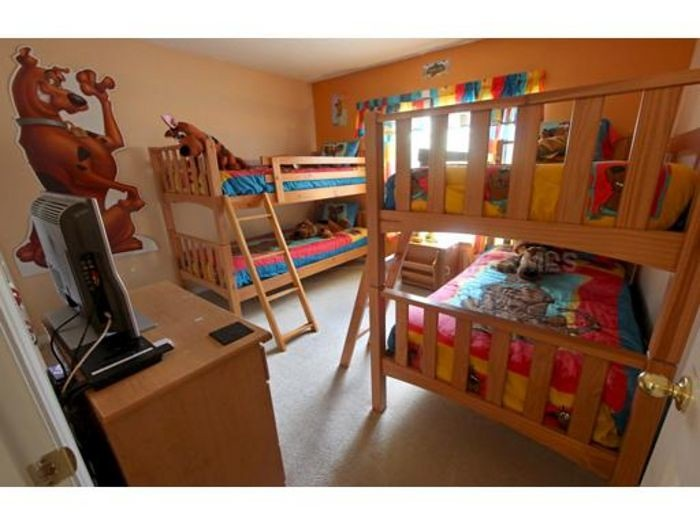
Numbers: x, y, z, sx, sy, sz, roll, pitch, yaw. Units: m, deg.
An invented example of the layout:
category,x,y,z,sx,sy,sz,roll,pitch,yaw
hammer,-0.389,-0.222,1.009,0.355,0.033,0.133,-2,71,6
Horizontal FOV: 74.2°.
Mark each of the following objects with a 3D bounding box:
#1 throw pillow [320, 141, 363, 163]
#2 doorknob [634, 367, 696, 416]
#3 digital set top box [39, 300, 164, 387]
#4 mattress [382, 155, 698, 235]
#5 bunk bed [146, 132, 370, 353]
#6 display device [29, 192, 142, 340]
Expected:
category,x,y,z,sx,sy,sz,roll,pitch,yaw
throw pillow,-0.103,-1.358,5.511,0.458,0.270,0.464,15,25,38
doorknob,0.993,0.418,1.509,0.190,0.102,0.101,10,5,0
digital set top box,-0.953,0.327,1.825,0.479,0.109,0.313,25,27,38
mattress,1.177,-0.294,2.360,1.681,0.351,0.853,8,11,38
bunk bed,-0.687,-0.348,3.914,2.743,1.585,1.013,-15,21,-39
display device,-0.963,-0.016,1.849,0.326,0.486,0.723,-4,11,-32
